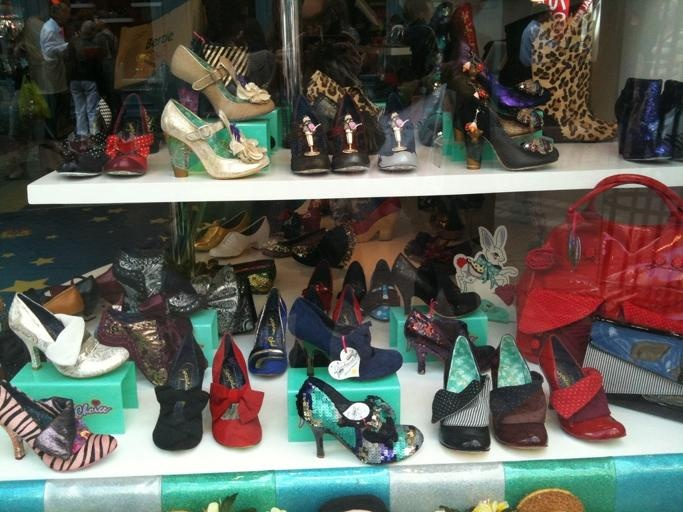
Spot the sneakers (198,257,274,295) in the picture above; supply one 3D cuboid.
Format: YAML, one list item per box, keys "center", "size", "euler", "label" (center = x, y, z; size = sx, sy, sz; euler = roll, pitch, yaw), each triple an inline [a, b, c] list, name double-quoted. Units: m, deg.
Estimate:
- center: [-0.394, 0.091, 2.096]
  size: [0.339, 0.113, 0.121]
  euler: [2, 1, 16]
  label: "sneakers"

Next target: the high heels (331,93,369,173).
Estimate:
- center: [0.021, -0.352, 1.577]
  size: [0.075, 0.087, 0.232]
  euler: [0, 59, 3]
  label: "high heels"

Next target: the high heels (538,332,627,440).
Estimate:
- center: [0.641, 0.364, 1.543]
  size: [0.147, 0.115, 0.331]
  euler: [-6, 31, -2]
  label: "high heels"

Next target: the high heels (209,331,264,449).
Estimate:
- center: [-0.291, 0.367, 1.527]
  size: [0.128, 0.132, 0.365]
  euler: [3, 22, -15]
  label: "high heels"

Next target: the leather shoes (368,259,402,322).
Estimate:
- center: [0.143, 0.138, 1.947]
  size: [0.122, 0.068, 0.260]
  euler: [8, 29, -5]
  label: "leather shoes"

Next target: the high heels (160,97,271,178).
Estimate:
- center: [-0.335, -0.342, 1.556]
  size: [0.307, 0.220, 0.157]
  euler: [-2, 34, -7]
  label: "high heels"

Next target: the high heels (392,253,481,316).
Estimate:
- center: [0.318, 0.102, 1.864]
  size: [0.280, 0.194, 0.146]
  euler: [-1, 8, 12]
  label: "high heels"

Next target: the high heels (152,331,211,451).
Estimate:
- center: [-0.430, 0.361, 1.524]
  size: [0.122, 0.122, 0.367]
  euler: [-2, 23, -6]
  label: "high heels"

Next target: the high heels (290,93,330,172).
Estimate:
- center: [-0.089, -0.350, 1.592]
  size: [0.079, 0.096, 0.250]
  euler: [-6, 42, -2]
  label: "high heels"

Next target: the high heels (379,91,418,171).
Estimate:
- center: [0.159, -0.352, 1.579]
  size: [0.075, 0.093, 0.229]
  euler: [-3, 51, 6]
  label: "high heels"

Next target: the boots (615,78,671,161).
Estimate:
- center: [0.931, -0.398, 1.651]
  size: [0.182, 0.212, 0.211]
  euler: [-16, 15, -41]
  label: "boots"

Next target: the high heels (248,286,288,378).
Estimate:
- center: [-0.217, 0.245, 1.759]
  size: [0.121, 0.092, 0.351]
  euler: [8, 27, -6]
  label: "high heels"

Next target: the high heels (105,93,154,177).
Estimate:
- center: [-0.574, -0.354, 1.586]
  size: [0.092, 0.115, 0.293]
  euler: [1, 44, -8]
  label: "high heels"

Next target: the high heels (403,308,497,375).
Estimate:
- center: [0.342, 0.265, 1.707]
  size: [0.285, 0.190, 0.099]
  euler: [-3, 0, 5]
  label: "high heels"

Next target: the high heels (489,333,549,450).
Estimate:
- center: [0.489, 0.374, 1.565]
  size: [0.123, 0.118, 0.328]
  euler: [-5, 34, 8]
  label: "high heels"

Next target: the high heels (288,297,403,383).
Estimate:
- center: [0.007, 0.215, 1.631]
  size: [0.389, 0.225, 0.151]
  euler: [15, 28, 11]
  label: "high heels"

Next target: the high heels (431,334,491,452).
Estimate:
- center: [0.324, 0.381, 1.536]
  size: [0.146, 0.139, 0.352]
  euler: [-1, 29, 12]
  label: "high heels"

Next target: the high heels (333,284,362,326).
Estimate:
- center: [0.023, 0.151, 1.859]
  size: [0.089, 0.091, 0.247]
  euler: [14, 12, 1]
  label: "high heels"
